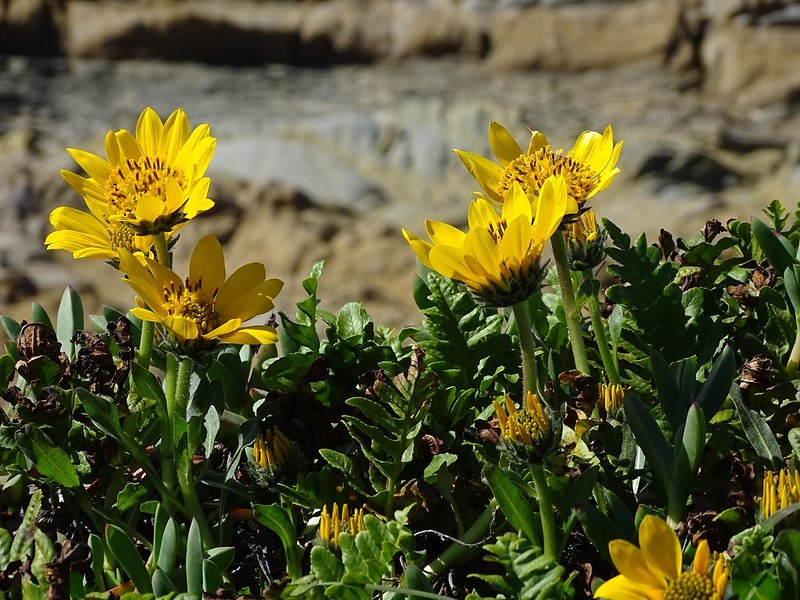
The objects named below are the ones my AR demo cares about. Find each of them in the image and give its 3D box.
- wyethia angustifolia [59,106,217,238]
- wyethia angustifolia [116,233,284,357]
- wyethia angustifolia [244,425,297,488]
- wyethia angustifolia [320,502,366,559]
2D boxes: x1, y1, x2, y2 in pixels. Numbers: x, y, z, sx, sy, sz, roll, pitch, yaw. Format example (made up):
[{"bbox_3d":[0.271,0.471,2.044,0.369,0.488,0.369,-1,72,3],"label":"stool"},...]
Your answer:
[{"bbox_3d":[-0.362,-0.182,1.884,0.176,0.073,0.212,-14,56,8],"label":"wyethia angustifolia"},{"bbox_3d":[-0.280,-0.003,1.846,0.170,0.072,0.173,39,50,22],"label":"wyethia angustifolia"},{"bbox_3d":[-0.187,0.229,1.901,0.065,0.082,0.081,1,37,3],"label":"wyethia angustifolia"},{"bbox_3d":[-0.075,0.322,1.843,0.056,0.075,0.062,6,7,24],"label":"wyethia angustifolia"}]
